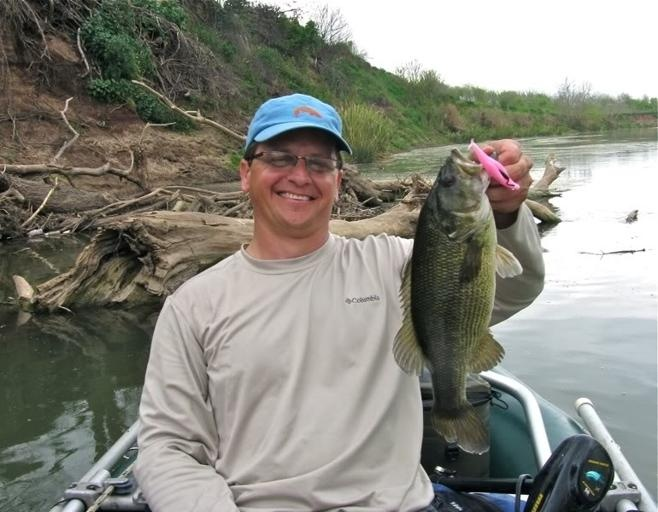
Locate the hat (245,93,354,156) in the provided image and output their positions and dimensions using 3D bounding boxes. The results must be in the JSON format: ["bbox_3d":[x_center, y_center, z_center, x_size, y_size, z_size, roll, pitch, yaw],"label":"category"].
[{"bbox_3d":[-0.150,-0.713,2.810,0.492,0.346,0.661,2,0,-8],"label":"hat"}]
